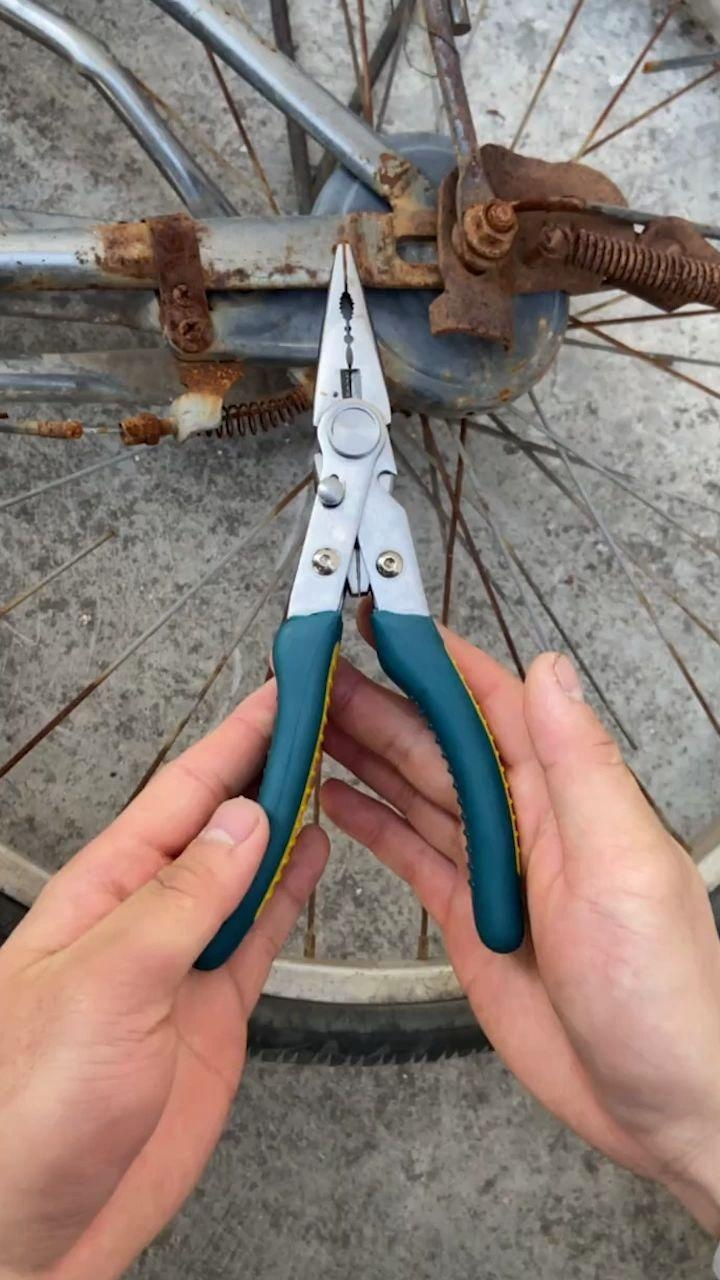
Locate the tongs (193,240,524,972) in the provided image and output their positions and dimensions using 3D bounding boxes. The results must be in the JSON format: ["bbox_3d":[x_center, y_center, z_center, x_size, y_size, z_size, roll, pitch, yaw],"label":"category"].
[{"bbox_3d":[0.033,-0.011,0.610,0.199,0.346,0.349,9,40,10],"label":"tongs"}]
